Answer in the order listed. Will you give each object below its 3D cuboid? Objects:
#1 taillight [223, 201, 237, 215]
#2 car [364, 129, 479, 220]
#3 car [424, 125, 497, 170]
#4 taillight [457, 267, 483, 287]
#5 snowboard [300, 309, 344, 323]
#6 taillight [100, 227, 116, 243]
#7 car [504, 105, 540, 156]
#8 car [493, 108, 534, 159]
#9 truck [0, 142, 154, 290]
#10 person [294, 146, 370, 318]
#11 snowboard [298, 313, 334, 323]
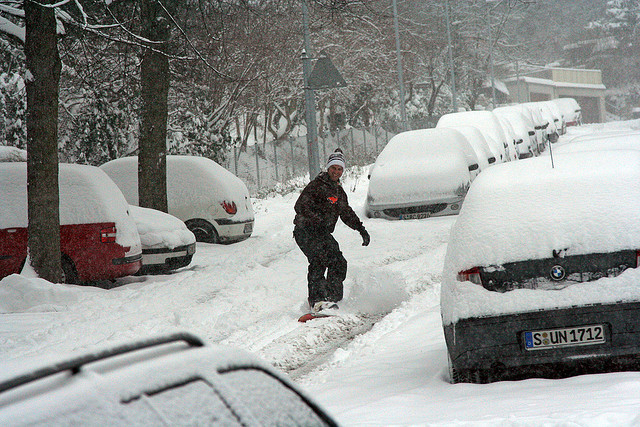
[{"bbox_3d":[-1.846,-0.113,14.051,0.264,0.245,0.072,-5,9,-24],"label":"taillight"},{"bbox_3d":[2.166,-0.853,14.628,1.463,1.268,2.579,-2,5,16],"label":"car"},{"bbox_3d":[3.845,-1.670,16.810,0.930,0.818,1.579,-2,18,21],"label":"car"},{"bbox_3d":[1.357,0.554,6.129,0.132,0.190,0.234,-4,-2,-27],"label":"taillight"},{"bbox_3d":[0.028,1.282,8.765,0.533,0.242,0.182,-4,2,-4],"label":"snowboard"},{"bbox_3d":[-3.235,0.334,10.343,0.203,0.232,0.072,0,-2,1],"label":"taillight"},{"bbox_3d":[7.954,-3.335,26.739,1.245,1.250,2.329,-2,26,21],"label":"car"},{"bbox_3d":[7.210,-2.845,24.742,1.064,1.052,1.992,-4,30,18],"label":"car"},{"bbox_3d":[-3.584,0.083,10.666,2.760,1.355,1.434,7,8,10],"label":"truck"},{"bbox_3d":[0.137,0.226,9.030,0.908,2.082,0.543,-9,11,-44],"label":"person"},{"bbox_3d":[-0.056,1.302,8.755,0.435,0.179,0.138,-3,-1,-17],"label":"snowboard"}]
